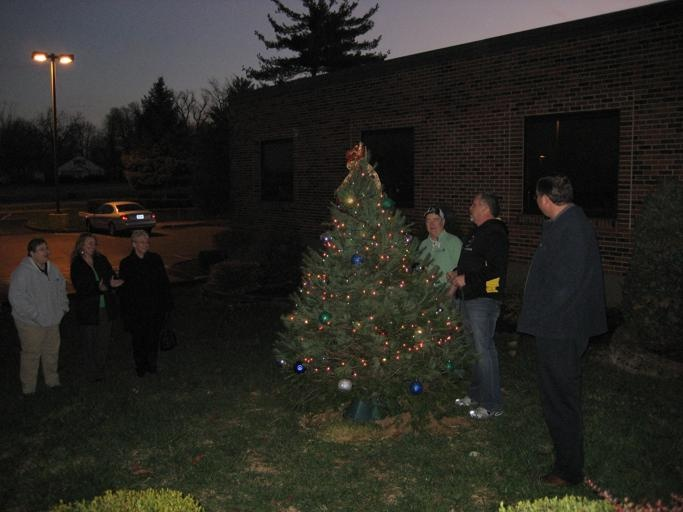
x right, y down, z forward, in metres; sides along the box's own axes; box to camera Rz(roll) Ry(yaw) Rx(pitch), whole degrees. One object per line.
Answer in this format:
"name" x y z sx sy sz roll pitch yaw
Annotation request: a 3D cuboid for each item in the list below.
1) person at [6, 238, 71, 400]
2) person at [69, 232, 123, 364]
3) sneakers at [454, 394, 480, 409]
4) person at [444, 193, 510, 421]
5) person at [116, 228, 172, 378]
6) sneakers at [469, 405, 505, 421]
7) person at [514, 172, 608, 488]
"person" -3.936 0.767 7.001 0.648 1.967 0.369 -8 11 -37
"person" -3.427 0.616 7.473 0.555 1.831 0.389 -6 10 -28
"sneakers" 1.495 1.741 6.429 0.222 0.095 0.138 3 7 12
"person" 1.588 0.564 6.193 0.587 2.530 0.510 2 9 22
"person" -2.758 0.688 7.496 0.697 2.084 0.371 -4 9 -12
"sneakers" 1.674 1.804 6.203 0.311 0.135 0.154 3 2 -8
"person" 2.030 0.675 5.002 0.592 2.813 0.628 -10 12 -44
